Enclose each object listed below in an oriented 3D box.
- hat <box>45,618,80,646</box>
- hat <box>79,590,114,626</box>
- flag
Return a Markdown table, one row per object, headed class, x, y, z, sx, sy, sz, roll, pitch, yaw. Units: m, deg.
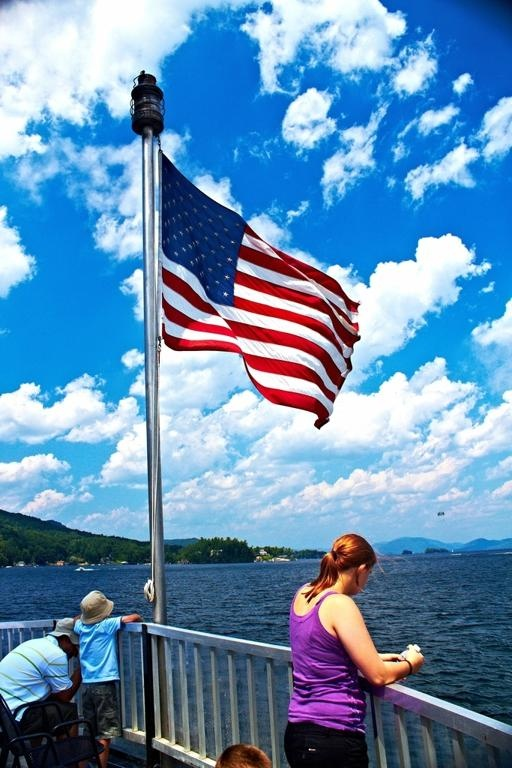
| class | x | y | z | sx | sy | sz | roll | pitch | yaw |
| --- | --- | --- | --- | --- | --- | --- | --- | --- | --- |
| hat | -1.501 | 1.965 | 5.322 | 0.198 | 0.133 | 0.210 | 3 | -22 | 26 |
| hat | -1.250 | 1.757 | 5.349 | 0.284 | 0.177 | 0.302 | -11 | 13 | 1 |
| flag | -0.057 | -0.771 | 6.505 | 2.507 | 3.364 | 0.366 | 6 | -23 | -12 |
